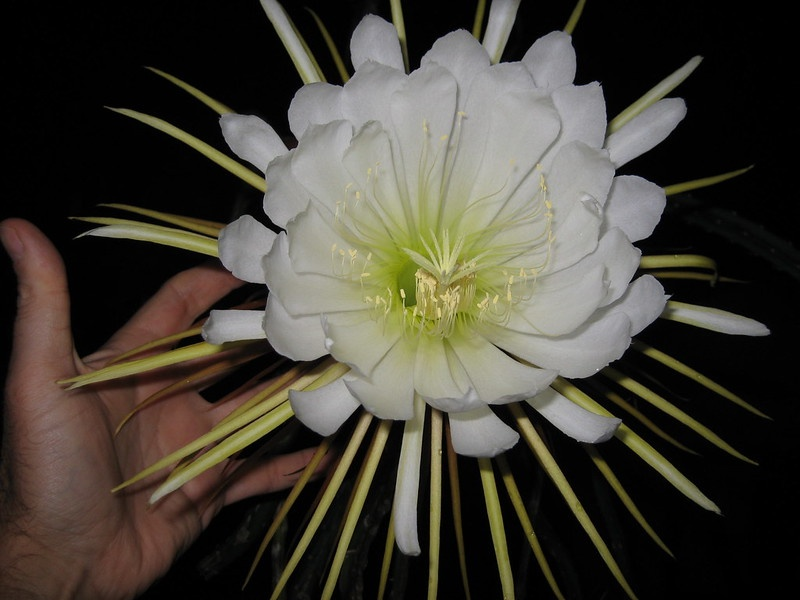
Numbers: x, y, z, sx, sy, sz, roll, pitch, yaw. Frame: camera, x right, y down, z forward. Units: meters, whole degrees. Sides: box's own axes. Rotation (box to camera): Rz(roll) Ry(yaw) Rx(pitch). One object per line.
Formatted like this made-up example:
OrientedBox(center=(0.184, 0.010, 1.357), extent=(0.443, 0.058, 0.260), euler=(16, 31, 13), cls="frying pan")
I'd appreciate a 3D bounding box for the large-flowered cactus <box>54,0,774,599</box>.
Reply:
OrientedBox(center=(0.099, 0.087, 1.924), extent=(1.391, 1.604, 0.684), euler=(0, 19, -3), cls="large-flowered cactus")
